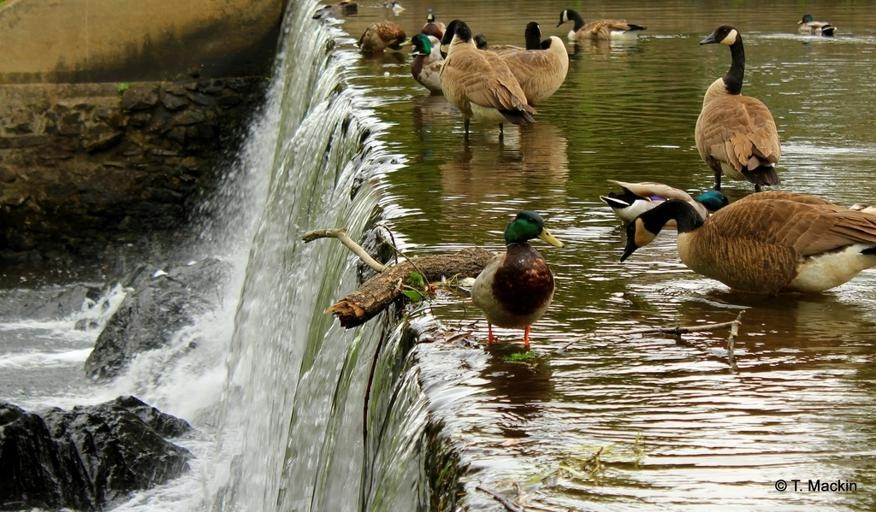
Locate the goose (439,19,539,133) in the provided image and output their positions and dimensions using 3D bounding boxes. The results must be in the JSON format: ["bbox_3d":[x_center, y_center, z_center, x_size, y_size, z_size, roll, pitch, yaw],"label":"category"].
[{"bbox_3d":[0.724,-2.579,20.933,1.211,1.901,2.055,-12,38,-5],"label":"goose"}]

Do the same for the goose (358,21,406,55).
[{"bbox_3d":[-1.131,-4.479,26.353,1.132,0.625,0.518,-11,47,-4],"label":"goose"}]

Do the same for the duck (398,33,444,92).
[{"bbox_3d":[-0.258,-3.467,23.544,0.656,0.952,1.185,-11,-10,33],"label":"duck"}]
